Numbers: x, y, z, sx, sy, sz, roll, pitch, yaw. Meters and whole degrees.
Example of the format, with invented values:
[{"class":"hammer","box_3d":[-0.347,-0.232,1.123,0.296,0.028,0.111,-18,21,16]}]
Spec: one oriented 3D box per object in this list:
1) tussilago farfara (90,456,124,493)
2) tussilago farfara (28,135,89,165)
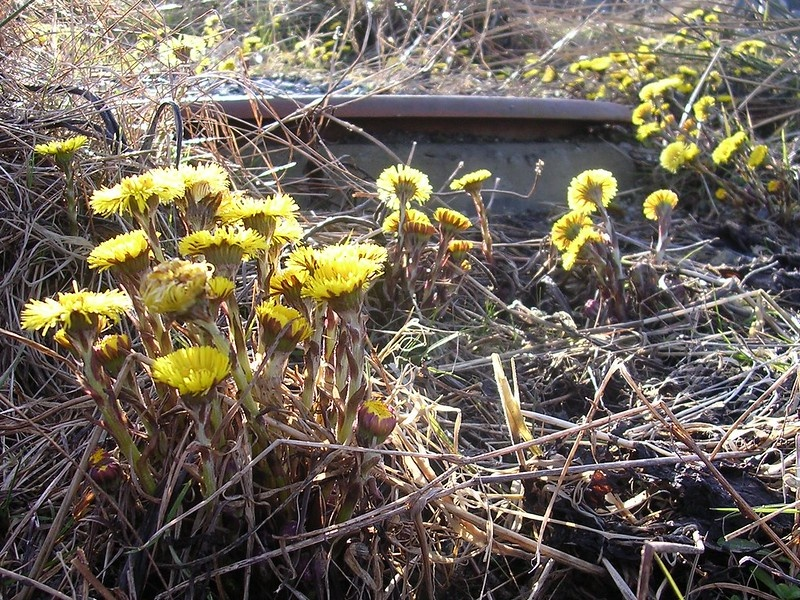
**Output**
[{"class":"tussilago farfara","box_3d":[-0.566,0.343,1.562,0.066,0.063,0.054,-16,1,-26]},{"class":"tussilago farfara","box_3d":[-0.816,-0.366,1.903,0.142,0.060,0.094,25,36,35]}]
